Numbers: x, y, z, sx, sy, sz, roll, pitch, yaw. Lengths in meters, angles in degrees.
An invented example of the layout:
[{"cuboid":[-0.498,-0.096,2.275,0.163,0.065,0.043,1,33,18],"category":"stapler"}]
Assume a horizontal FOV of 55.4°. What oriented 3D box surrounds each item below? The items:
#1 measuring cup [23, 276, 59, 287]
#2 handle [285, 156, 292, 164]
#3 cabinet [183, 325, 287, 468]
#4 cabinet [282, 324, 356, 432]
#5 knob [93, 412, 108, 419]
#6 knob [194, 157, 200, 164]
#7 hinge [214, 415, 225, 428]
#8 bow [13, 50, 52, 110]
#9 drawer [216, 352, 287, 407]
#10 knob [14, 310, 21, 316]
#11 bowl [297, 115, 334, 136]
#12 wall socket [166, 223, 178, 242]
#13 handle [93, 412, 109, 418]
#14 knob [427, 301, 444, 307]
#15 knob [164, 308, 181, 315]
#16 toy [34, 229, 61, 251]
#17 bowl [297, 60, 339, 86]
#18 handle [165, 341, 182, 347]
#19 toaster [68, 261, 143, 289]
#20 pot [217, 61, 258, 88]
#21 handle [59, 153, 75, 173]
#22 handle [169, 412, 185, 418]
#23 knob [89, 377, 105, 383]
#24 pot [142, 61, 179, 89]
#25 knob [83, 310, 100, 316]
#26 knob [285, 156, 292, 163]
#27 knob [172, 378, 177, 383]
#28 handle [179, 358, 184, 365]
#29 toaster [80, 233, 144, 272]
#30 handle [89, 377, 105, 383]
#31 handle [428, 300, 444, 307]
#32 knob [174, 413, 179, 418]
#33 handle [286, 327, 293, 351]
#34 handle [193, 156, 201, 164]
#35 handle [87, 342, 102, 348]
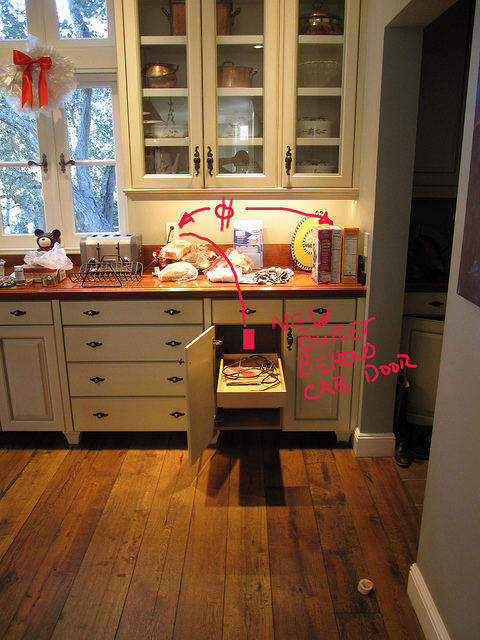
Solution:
[{"cuboid":[-0.913,-0.190,2.195,0.077,0.045,0.092,-2,13,-8],"category":"measuring cup"},{"cuboid":[0.229,-0.768,2.177,0.026,0.031,0.026,5,23,7],"category":"handle"},{"cuboid":[-0.026,0.278,2.135,0.392,0.469,0.728,-1,21,0],"category":"cabinet"},{"cuboid":[0.383,0.241,2.372,0.370,0.695,0.397,2,20,9],"category":"cabinet"},{"cuboid":[-0.690,0.469,2.262,0.049,0.029,0.012,-1,3,3],"category":"knob"},{"cuboid":[-0.206,-0.768,2.183,0.029,0.040,0.022,0,5,-3],"category":"knob"},{"cuboid":[-0.100,0.476,2.146,0.053,0.050,0.013,2,49,-9],"category":"hinge"},{"cuboid":[-0.980,-1.154,2.176,0.180,0.267,0.047,-1,-5,-12],"category":"bow"},{"cuboid":[0.046,0.261,2.064,0.288,0.102,0.501,0,16,2],"category":"drawer"},{"cuboid":[-1.040,-0.038,2.138,0.030,0.024,0.008,3,13,15],"category":"knob"},{"cuboid":[0.351,-0.923,2.160,0.111,0.056,0.105,-1,27,0],"category":"bowl"},{"cuboid":[-0.376,-0.491,2.533,0.065,0.101,0.039,-4,13,-13],"category":"wall socket"},{"cuboid":[-0.693,0.469,2.259,0.051,0.021,0.020,3,14,1],"category":"handle"},{"cuboid":[0.938,-0.082,2.194,0.049,0.030,0.012,2,8,3],"category":"knob"},{"cuboid":[-0.314,-0.042,2.113,0.071,0.027,0.014,2,13,10],"category":"knob"},{"cuboid":[-1.040,-0.440,2.484,0.114,0.110,0.229,-4,13,-16],"category":"toy"},{"cuboid":[0.364,-1.122,2.106,0.115,0.049,0.125,-1,21,1],"category":"bowl"},{"cuboid":[-0.311,0.108,2.156,0.073,0.022,0.011,1,12,6],"category":"handle"},{"cuboid":[-0.678,-0.240,2.281,0.377,0.098,0.341,-3,13,-12],"category":"toaster"},{"cuboid":[-0.010,-1.132,2.126,0.126,0.059,0.142,-1,51,-5],"category":"pot"},{"cuboid":[-0.994,-0.902,2.596,0.110,0.114,0.045,1,33,-3],"category":"handle"},{"cuboid":[-0.313,0.467,2.250,0.059,0.029,0.005,0,12,2],"category":"handle"},{"cuboid":[-0.690,0.287,2.210,0.052,0.029,0.020,-2,2,-5],"category":"knob"},{"cuboid":[-0.371,-1.146,2.126,0.131,0.097,0.119,-3,19,-6],"category":"pot"},{"cuboid":[-0.695,-0.034,2.125,0.045,0.027,0.016,-1,0,1],"category":"knob"},{"cuboid":[0.231,-0.770,2.176,0.022,0.042,0.029,2,11,3],"category":"knob"},{"cuboid":[-0.317,0.286,2.200,0.020,0.020,0.007,2,7,-8],"category":"knob"},{"cuboid":[-0.277,0.192,2.169,0.035,0.036,0.009,0,9,0],"category":"handle"},{"cuboid":[-0.675,-0.365,2.377,0.298,0.199,0.216,2,31,-1],"category":"toaster"},{"cuboid":[-0.689,0.289,2.209,0.062,0.027,0.008,0,12,1],"category":"handle"},{"cuboid":[0.940,-0.083,2.196,0.071,0.034,0.011,-3,12,-9],"category":"handle"},{"cuboid":[-0.315,0.468,2.250,0.020,0.020,0.005,1,14,0],"category":"knob"},{"cuboid":[0.232,0.087,2.133,0.024,0.116,0.016,1,12,7],"category":"handle"},{"cuboid":[-0.206,-0.771,2.183,0.037,0.051,0.027,16,26,42],"category":"handle"},{"cuboid":[-0.687,0.114,2.160,0.039,0.024,0.014,0,3,2],"category":"handle"}]
